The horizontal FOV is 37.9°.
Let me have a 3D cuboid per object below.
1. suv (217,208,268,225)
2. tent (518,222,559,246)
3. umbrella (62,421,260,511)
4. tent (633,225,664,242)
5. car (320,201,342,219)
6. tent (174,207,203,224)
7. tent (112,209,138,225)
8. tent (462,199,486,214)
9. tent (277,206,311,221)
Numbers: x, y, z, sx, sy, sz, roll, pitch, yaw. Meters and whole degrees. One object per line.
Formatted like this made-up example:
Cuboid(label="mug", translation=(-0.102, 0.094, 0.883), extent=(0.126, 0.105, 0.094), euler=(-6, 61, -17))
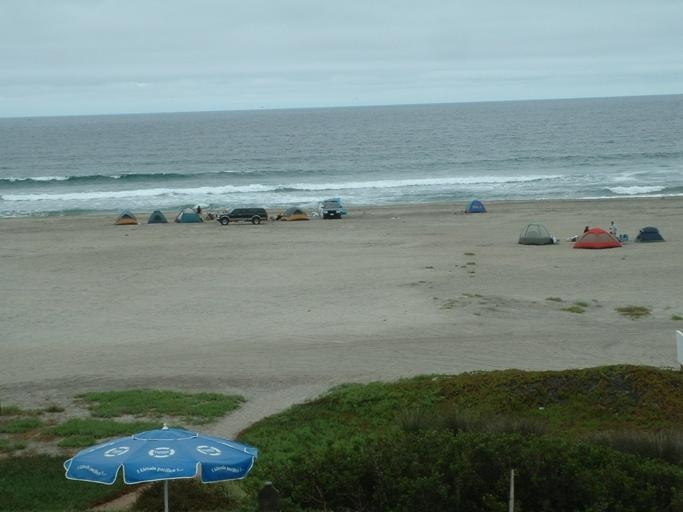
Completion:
Cuboid(label="suv", translation=(-6.392, -2.566, 65.942), extent=(3.135, 0.826, 1.245), euler=(1, 2, -5))
Cuboid(label="tent", translation=(10.232, -0.963, 52.710), extent=(1.866, 0.667, 1.375), euler=(-3, 9, -15))
Cuboid(label="umbrella", translation=(-4.168, 5.013, 25.941), extent=(3.557, 1.721, 3.056), euler=(0, -3, 15))
Cuboid(label="tent", translation=(16.307, -1.072, 52.453), extent=(1.472, 0.698, 1.420), euler=(-2, 7, 9))
Cuboid(label="car", translation=(-0.630, -3.056, 67.735), extent=(1.116, 0.752, 1.614), euler=(-1, 1, -4))
Cuboid(label="tent", translation=(-10.149, -2.548, 66.878), extent=(1.676, 0.547, 1.431), euler=(-1, 10, -4))
Cuboid(label="tent", translation=(-14.074, -2.412, 65.281), extent=(1.409, 0.773, 1.034), euler=(-5, 7, -10))
Cuboid(label="tent", translation=(9.323, -3.286, 68.699), extent=(1.728, 0.644, 1.469), euler=(0, 11, 3))
Cuboid(label="tent", translation=(-3.192, -2.750, 67.196), extent=(2.104, 0.798, 1.017), euler=(1, 9, 29))
